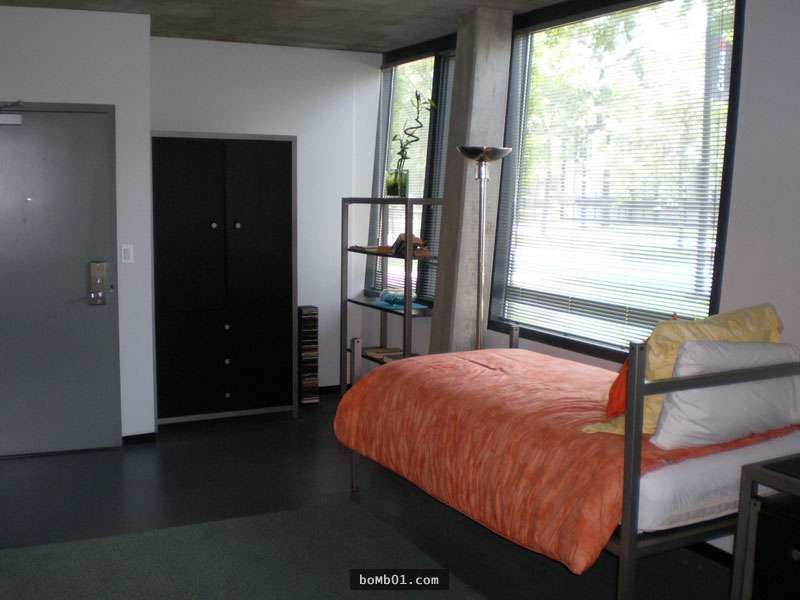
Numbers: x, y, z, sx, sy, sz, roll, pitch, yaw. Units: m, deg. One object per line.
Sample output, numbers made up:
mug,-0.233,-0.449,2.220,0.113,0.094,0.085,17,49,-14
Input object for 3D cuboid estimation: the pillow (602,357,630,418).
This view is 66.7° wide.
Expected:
pillow,1.026,0.392,2.805,0.087,0.247,0.109,19,-5,-43

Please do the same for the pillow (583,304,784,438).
pillow,1.274,0.268,2.760,0.622,0.685,0.208,9,-2,-35

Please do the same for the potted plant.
potted plant,0.102,-1.466,5.708,0.401,1.067,0.794,2,3,2

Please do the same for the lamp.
lamp,0.616,-0.401,4.577,0.366,1.555,0.691,3,3,9

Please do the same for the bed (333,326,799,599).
bed,0.705,0.356,3.071,1.430,0.782,1.534,-5,8,-34
